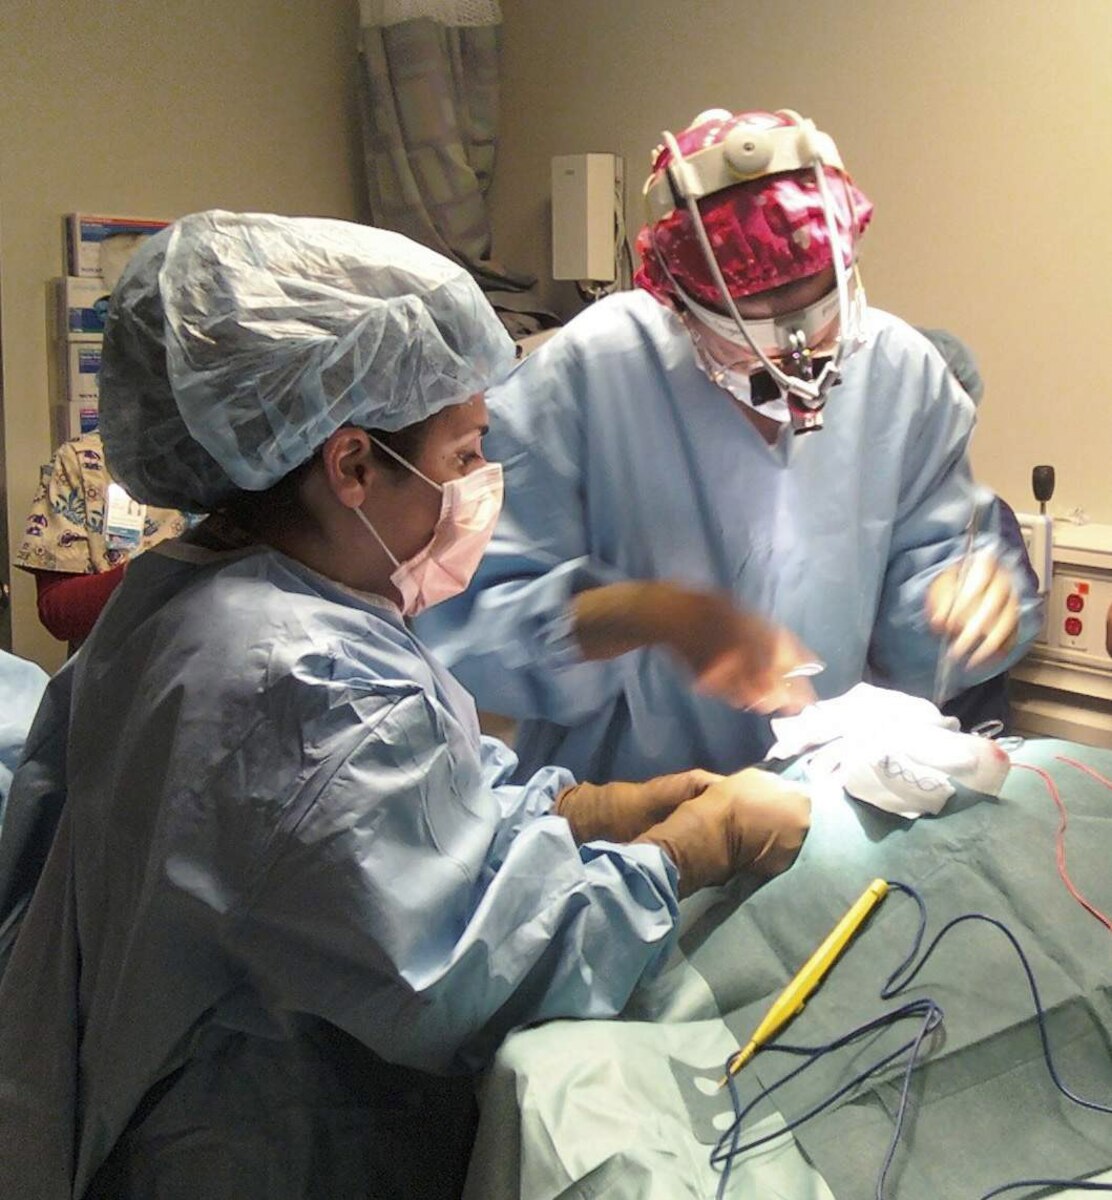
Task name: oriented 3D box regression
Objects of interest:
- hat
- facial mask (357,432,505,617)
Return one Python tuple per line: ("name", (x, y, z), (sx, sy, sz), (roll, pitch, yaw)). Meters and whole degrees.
("hat", (0.229, -0.436, 1.356), (0.224, 0.252, 0.186), (-7, 6, -2))
("facial mask", (-0.117, -0.067, 1.161), (0.150, 0.138, 0.133), (30, 9, -7))
